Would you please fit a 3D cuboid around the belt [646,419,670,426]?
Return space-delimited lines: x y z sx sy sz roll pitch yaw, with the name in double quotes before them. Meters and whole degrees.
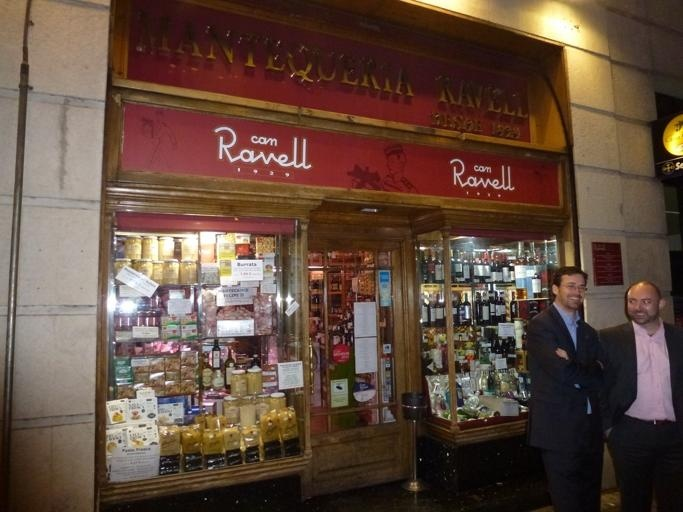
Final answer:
"belt" 2.719 1.414 4.786 0.162 0.045 0.015 -4 -6 2

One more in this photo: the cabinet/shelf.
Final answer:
"cabinet/shelf" -0.300 1.063 5.547 3.859 2.682 0.675 -1 -7 -25

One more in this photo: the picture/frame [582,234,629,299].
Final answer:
"picture/frame" 2.947 0.119 6.308 0.708 0.830 0.091 1 -6 -22

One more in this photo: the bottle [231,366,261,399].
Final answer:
"bottle" -0.917 1.140 5.349 0.360 0.270 0.211 1 -7 -15
